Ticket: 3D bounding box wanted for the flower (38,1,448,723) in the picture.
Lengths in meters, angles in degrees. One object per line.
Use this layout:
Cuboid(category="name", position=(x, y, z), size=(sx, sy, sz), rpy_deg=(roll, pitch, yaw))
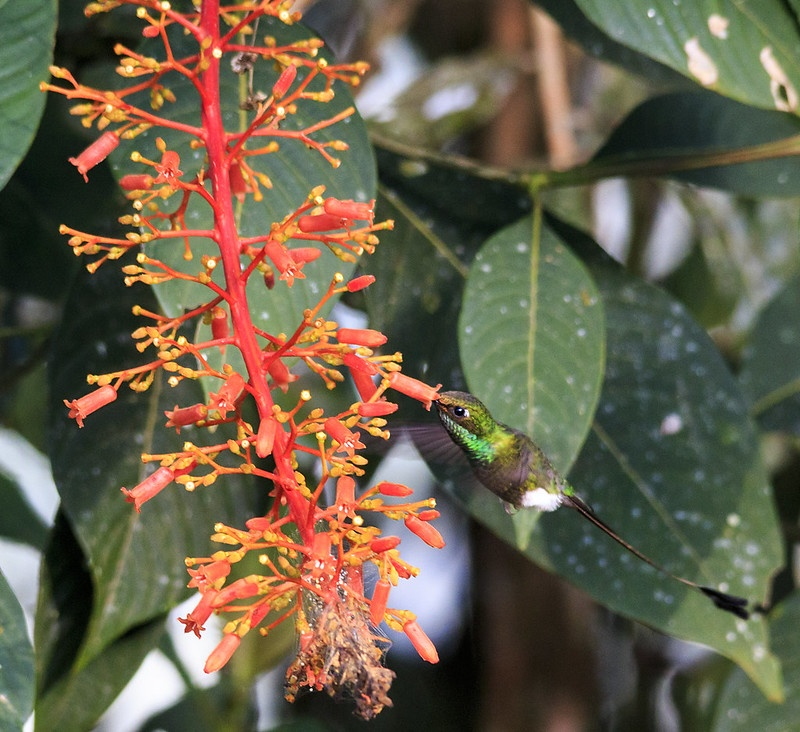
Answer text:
Cuboid(category="flower", position=(-0.189, -0.057, 1.467), size=(0.489, 0.945, 0.544), rpy_deg=(1, -5, 1))
